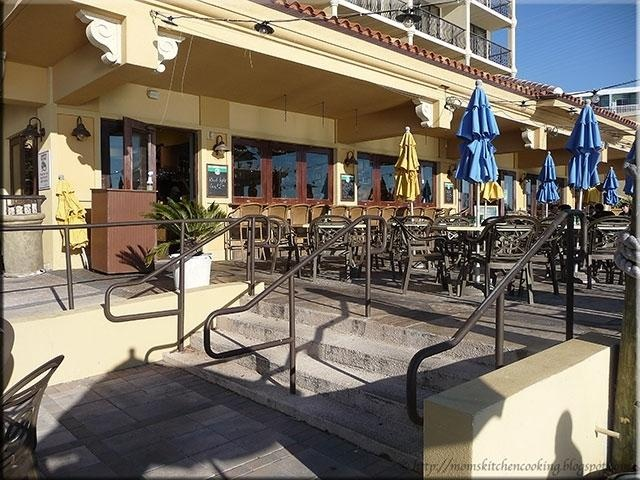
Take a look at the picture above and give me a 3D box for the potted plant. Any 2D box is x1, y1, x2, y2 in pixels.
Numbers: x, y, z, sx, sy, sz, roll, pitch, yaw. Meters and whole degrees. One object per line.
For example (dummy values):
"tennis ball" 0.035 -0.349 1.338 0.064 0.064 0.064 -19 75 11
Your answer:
"potted plant" -1.700 0.037 6.607 1.189 1.359 1.215 -1 1 -44

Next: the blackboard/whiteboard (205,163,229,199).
"blackboard/whiteboard" -2.230 -1.271 10.353 0.099 0.926 0.780 1 1 41

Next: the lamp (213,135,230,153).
"lamp" -2.126 -2.017 10.327 0.319 0.418 0.376 0 -1 -30

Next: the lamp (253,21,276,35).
"lamp" -0.848 -3.205 7.355 0.220 0.142 0.219 -3 21 -30

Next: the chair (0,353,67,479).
"chair" -1.603 0.961 2.670 0.315 0.569 0.574 -1 4 -26

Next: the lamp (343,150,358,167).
"lamp" 0.839 -2.163 12.848 0.461 0.393 0.188 -3 5 -43

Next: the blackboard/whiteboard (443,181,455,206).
"blackboard/whiteboard" 4.221 -1.527 15.821 0.108 0.885 0.773 -7 -8 41

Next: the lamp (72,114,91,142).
"lamp" -4.268 -1.930 8.546 0.352 0.579 0.419 -3 3 -22

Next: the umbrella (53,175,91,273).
"umbrella" -4.236 -0.303 8.334 0.547 1.616 0.631 -2 4 -40
